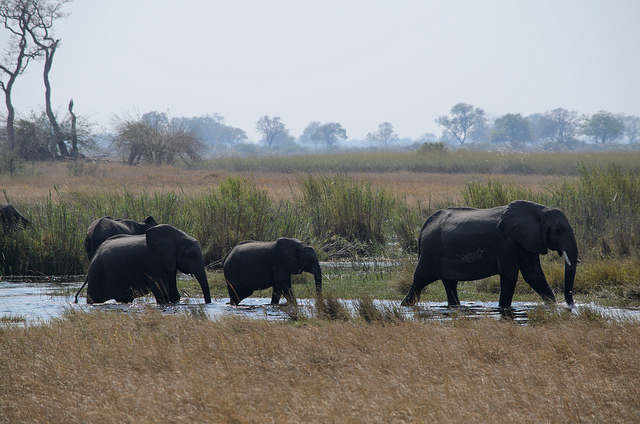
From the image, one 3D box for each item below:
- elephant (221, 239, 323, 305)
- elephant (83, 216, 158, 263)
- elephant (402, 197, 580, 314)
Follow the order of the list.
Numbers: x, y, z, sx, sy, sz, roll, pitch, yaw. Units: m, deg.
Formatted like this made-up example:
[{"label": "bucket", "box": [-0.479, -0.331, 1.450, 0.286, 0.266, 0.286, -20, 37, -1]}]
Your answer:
[{"label": "elephant", "box": [-1.166, 1.530, 25.460, 2.470, 1.974, 1.159, -2, 10, 1]}, {"label": "elephant", "box": [-5.161, 0.669, 26.133, 1.956, 1.276, 0.900, -6, 9, -40]}, {"label": "elephant", "box": [4.009, 1.052, 24.934, 4.030, 2.919, 1.711, -1, 11, 12]}]
